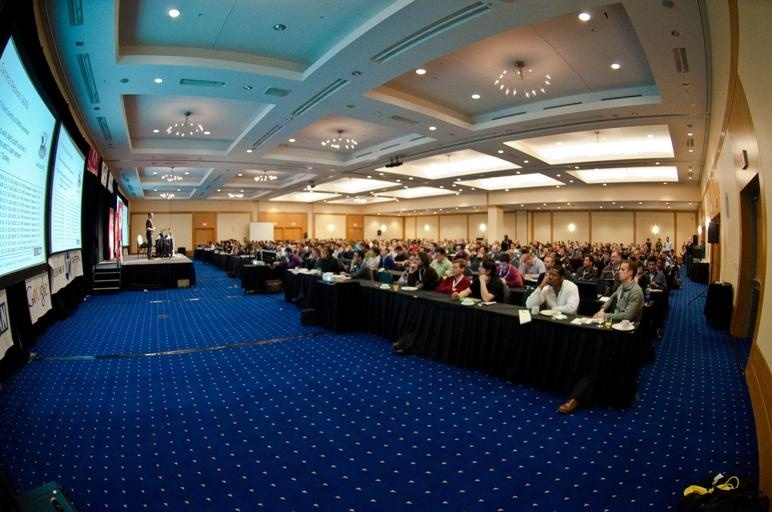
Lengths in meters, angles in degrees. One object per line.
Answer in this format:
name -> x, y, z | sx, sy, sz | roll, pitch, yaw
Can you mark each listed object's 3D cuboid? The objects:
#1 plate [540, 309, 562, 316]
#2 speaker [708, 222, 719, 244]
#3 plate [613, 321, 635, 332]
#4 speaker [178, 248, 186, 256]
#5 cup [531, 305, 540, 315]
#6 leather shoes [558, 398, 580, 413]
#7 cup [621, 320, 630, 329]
plate -> 2.286, 0.802, 5.798 | 0.275, 0.055, 0.126 | 3, 7, 21
speaker -> 8.339, -0.590, 10.576 | 0.224, 0.537, 0.491 | 5, 8, 38
plate -> 3.035, 0.879, 5.304 | 0.248, 0.098, 0.256 | 4, 8, 32
speaker -> -12.059, -0.280, 24.631 | 0.396, 0.408, 0.398 | 0, 5, -8
cup -> 2.135, 0.784, 5.958 | 0.101, 0.092, 0.117 | 3, -5, -43
leather shoes -> 2.332, 1.903, 5.285 | 0.315, 0.145, 0.121 | -4, 8, -33
cup -> 3.048, 0.869, 5.271 | 0.108, 0.081, 0.092 | -3, -2, 36
